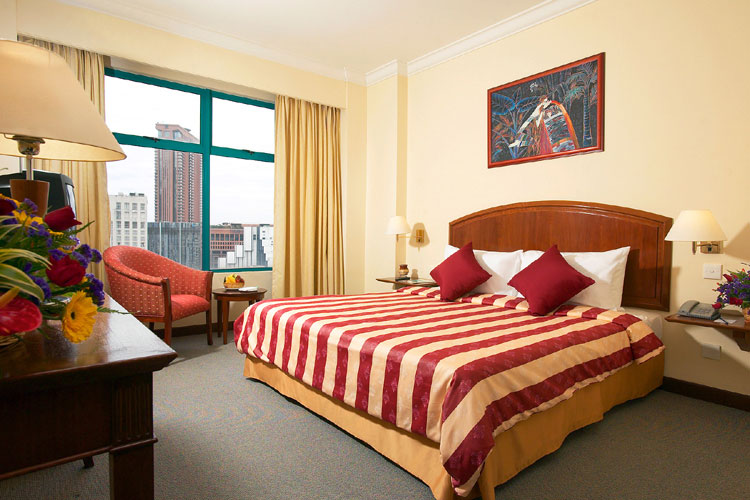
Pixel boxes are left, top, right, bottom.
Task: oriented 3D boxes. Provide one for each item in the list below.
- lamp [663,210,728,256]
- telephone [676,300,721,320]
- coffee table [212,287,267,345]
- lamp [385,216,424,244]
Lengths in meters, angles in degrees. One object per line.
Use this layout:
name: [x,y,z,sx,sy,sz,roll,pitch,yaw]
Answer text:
lamp: [2.770,-0.158,4.192,0.457,0.366,0.468,1,-3,41]
telephone: [2.715,0.489,4.056,0.170,0.057,0.166,-21,17,-37]
coffee table: [-1.626,0.779,5.864,0.638,0.587,0.668,1,-2,-12]
lamp: [0.444,-0.257,6.342,0.497,0.385,0.291,-1,-5,-45]
